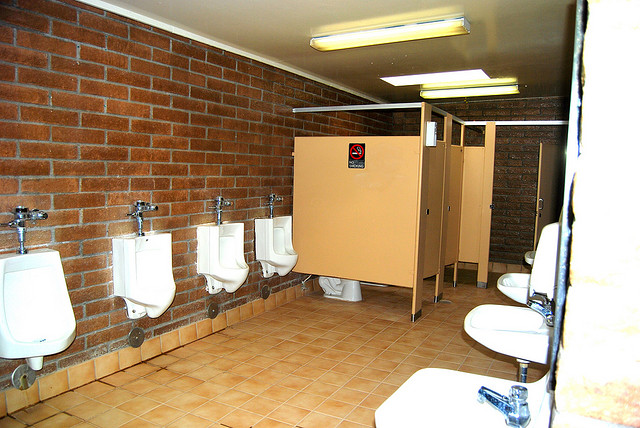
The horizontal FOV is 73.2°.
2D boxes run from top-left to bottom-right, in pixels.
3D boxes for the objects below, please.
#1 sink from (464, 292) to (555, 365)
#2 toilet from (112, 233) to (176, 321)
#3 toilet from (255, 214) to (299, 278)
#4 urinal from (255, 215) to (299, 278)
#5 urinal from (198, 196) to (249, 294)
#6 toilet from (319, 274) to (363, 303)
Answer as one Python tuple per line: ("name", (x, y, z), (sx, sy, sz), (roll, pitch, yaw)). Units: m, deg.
("sink", (0.927, 0.577, 2.169), (0.382, 0.166, 0.456), (4, 7, 20))
("toilet", (-1.333, 0.492, 3.320), (0.444, 0.700, 0.283), (-3, 9, -35))
("toilet", (-0.444, 0.360, 4.767), (0.409, 0.629, 0.523), (0, 2, 21))
("urinal", (-0.440, 0.343, 4.768), (0.375, 0.651, 0.547), (5, 8, 19))
("urinal", (-0.850, 0.313, 4.082), (0.380, 0.845, 0.519), (2, 1, 19))
("toilet", (0.263, 0.872, 5.265), (0.582, 0.337, 0.312), (-1, 1, 28))
